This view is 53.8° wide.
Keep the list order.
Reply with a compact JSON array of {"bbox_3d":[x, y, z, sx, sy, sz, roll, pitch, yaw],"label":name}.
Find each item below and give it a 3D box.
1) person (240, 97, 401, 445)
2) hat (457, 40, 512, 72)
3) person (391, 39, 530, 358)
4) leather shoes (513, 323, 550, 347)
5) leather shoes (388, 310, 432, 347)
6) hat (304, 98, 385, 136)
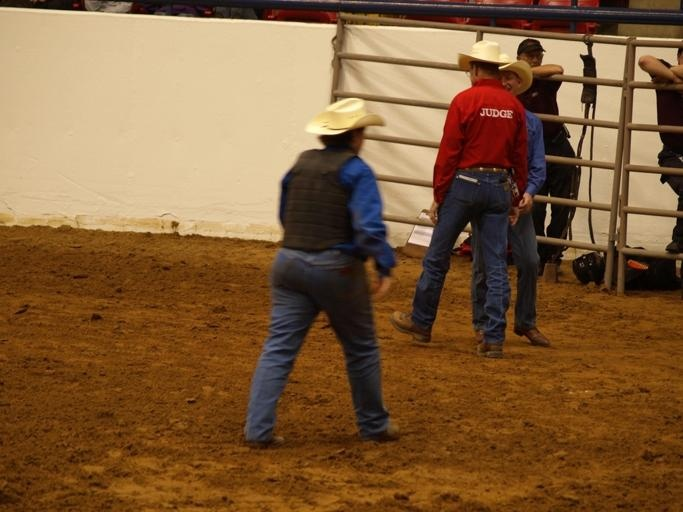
[{"bbox_3d":[-0.060,0.115,4.168,0.877,1.943,0.403,7,2,3],"label":"person"},{"bbox_3d":[1.197,-1.651,5.690,0.471,0.169,0.473,6,-1,22],"label":"hat"},{"bbox_3d":[1.068,-0.463,5.583,0.845,2.491,0.452,7,2,4],"label":"person"},{"bbox_3d":[1.706,0.718,6.046,0.389,0.140,0.140,25,9,5],"label":"leather shoes"},{"bbox_3d":[0.569,0.609,5.912,0.417,0.190,0.184,32,9,-6],"label":"leather shoes"},{"bbox_3d":[0.037,-0.845,4.142,0.404,0.130,0.292,-6,9,-24],"label":"hat"}]
